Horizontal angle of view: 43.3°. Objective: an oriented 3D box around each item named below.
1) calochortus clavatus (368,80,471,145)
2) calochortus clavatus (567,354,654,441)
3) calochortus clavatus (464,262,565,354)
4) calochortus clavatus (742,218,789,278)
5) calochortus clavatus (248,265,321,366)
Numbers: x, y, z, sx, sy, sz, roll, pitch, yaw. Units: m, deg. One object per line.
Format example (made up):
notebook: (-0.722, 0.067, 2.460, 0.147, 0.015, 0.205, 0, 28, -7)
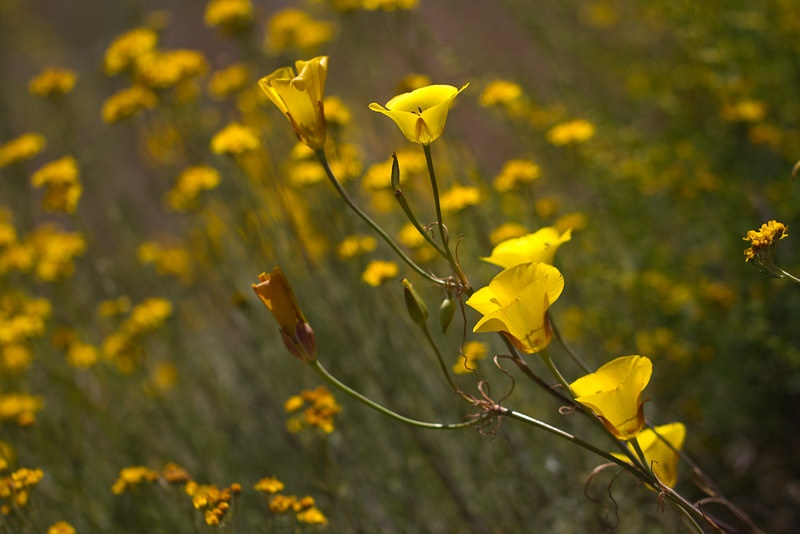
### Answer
calochortus clavatus: (0.076, -0.509, 3.275, 0.230, 0.144, 0.205, -14, 1, -32)
calochortus clavatus: (0.704, 0.455, 3.183, 0.205, 0.211, 0.202, -29, 5, -28)
calochortus clavatus: (0.351, 0.097, 3.263, 0.266, 0.203, 0.285, -41, 17, -10)
calochortus clavatus: (1.220, -0.050, 3.334, 0.128, 0.200, 0.161, -13, 11, 37)
calochortus clavatus: (-0.372, 0.164, 3.307, 0.133, 0.285, 0.171, -18, 8, -1)
